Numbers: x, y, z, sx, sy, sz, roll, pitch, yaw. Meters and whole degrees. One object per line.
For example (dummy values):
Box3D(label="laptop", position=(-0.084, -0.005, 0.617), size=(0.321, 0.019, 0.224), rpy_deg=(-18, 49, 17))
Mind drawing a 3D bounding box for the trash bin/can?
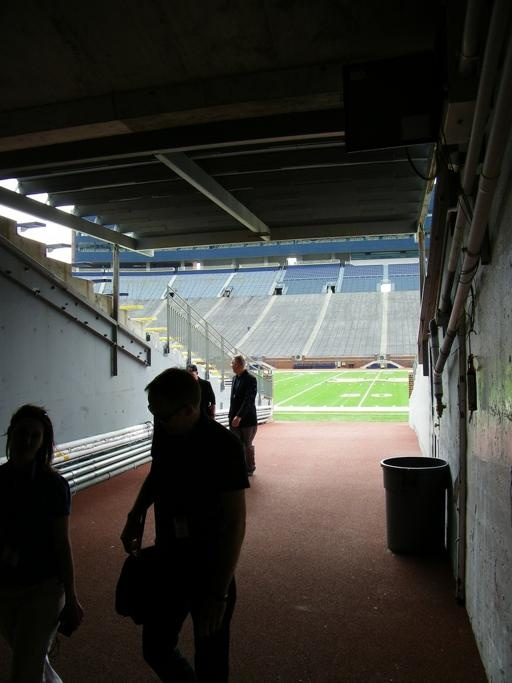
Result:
Box3D(label="trash bin/can", position=(1.495, 1.525, 4.319), size=(0.663, 0.977, 0.736), rpy_deg=(-3, -6, 28))
